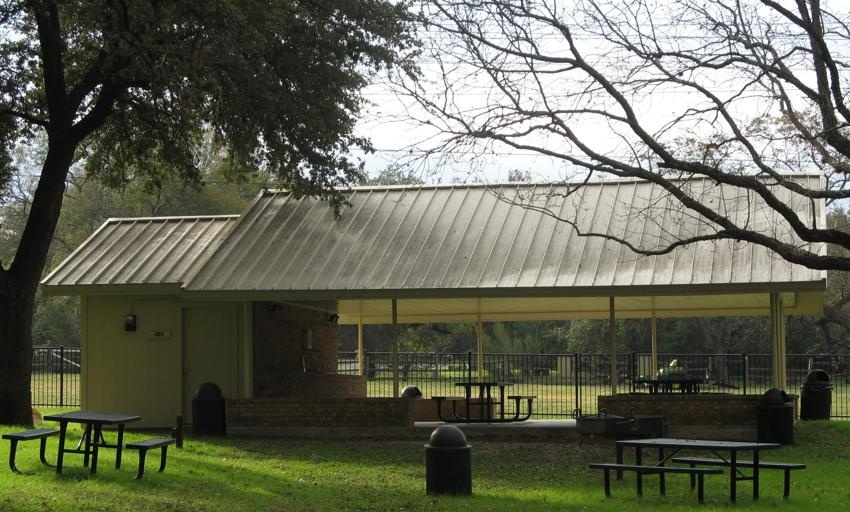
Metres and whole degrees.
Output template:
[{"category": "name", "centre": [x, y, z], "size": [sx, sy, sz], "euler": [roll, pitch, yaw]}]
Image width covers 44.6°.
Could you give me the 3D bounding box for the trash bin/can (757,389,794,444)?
[{"category": "trash bin/can", "centre": [9.404, 4.328, 27.951], "size": [0.962, 1.480, 0.799], "euler": [0, -10, 8]}]

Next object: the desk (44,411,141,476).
[{"category": "desk", "centre": [-7.769, 4.373, 24.878], "size": [1.791, 1.297, 1.712], "euler": [1, -1, 16]}]

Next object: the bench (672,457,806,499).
[{"category": "bench", "centre": [7.199, 5.184, 24.339], "size": [2.685, 0.831, 3.136], "euler": [-1, -10, 13]}]

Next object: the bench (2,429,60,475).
[{"category": "bench", "centre": [-9.371, 4.648, 24.813], "size": [1.109, 0.994, 2.028], "euler": [5, -10, -19]}]

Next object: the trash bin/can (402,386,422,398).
[{"category": "trash bin/can", "centre": [-0.385, 4.392, 33.434], "size": [0.620, 0.366, 0.608], "euler": [0, -1, -28]}]

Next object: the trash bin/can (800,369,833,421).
[{"category": "trash bin/can", "centre": [11.884, 4.265, 31.900], "size": [1.202, 1.591, 0.756], "euler": [8, -12, -36]}]

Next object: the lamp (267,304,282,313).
[{"category": "lamp", "centre": [-4.434, 1.581, 31.079], "size": [0.263, 0.251, 0.470], "euler": [11, 8, 24]}]

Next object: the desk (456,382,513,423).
[{"category": "desk", "centre": [1.762, 4.468, 31.419], "size": [1.656, 1.015, 1.624], "euler": [-1, -9, 4]}]
